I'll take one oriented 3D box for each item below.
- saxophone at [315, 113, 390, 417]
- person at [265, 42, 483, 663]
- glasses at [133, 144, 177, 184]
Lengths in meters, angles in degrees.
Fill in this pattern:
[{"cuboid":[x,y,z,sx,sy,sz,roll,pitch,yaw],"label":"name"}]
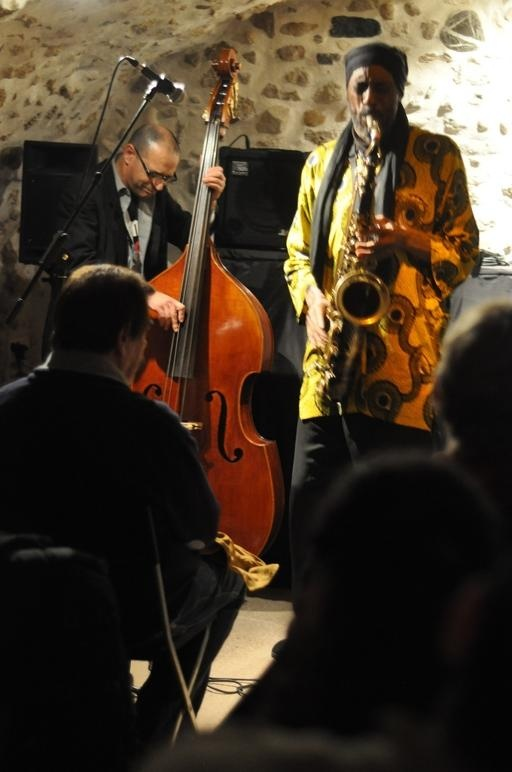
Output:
[{"cuboid":[0.169,-0.254,1.473,0.151,0.560,0.188,0,17,1],"label":"saxophone"},{"cuboid":[0.257,0.035,1.628,0.481,1.440,0.448,2,6,13],"label":"person"},{"cuboid":[-0.412,-0.895,2.712,0.040,0.137,0.132,-24,-10,33],"label":"glasses"}]
